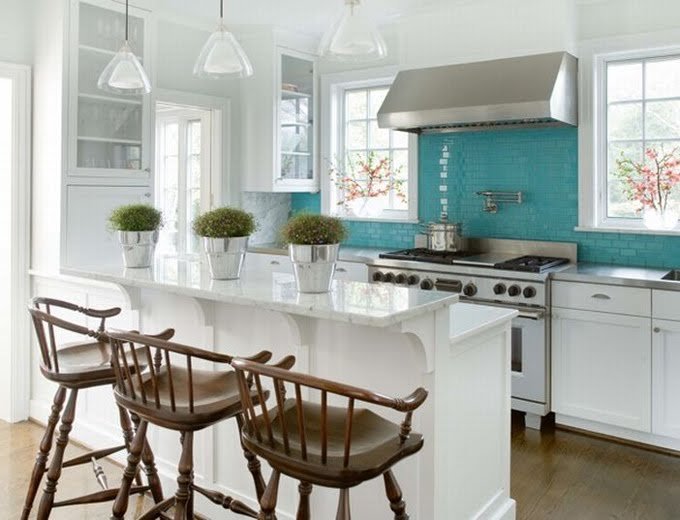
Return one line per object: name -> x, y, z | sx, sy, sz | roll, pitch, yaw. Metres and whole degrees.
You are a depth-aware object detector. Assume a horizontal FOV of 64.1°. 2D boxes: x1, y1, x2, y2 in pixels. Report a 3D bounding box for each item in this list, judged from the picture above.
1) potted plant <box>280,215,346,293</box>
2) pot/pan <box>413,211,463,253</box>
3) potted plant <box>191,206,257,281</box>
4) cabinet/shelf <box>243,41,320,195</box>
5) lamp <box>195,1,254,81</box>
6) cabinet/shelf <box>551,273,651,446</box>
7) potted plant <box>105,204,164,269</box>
potted plant -> -0.122, -0.014, 2.627 | 0.357, 0.406, 0.322 | 0, -3, -2
pot/pan -> 0.911, -0.245, 4.560 | 0.235, 0.268, 0.374 | -34, 17, -37
potted plant -> -0.636, -0.096, 2.877 | 0.380, 0.380, 0.339 | 2, 1, -30
cabinet/shelf -> -0.572, -1.341, 5.232 | 0.793, 1.369, 0.458 | -3, 12, -12
lamp -> -0.596, -1.037, 2.684 | 0.253, 0.243, 0.156 | 3, 12, 19
cabinet/shelf -> 2.013, 0.654, 3.830 | 0.925, 1.034, 0.909 | 1, -2, 31
potted plant -> -1.195, -0.137, 3.308 | 0.370, 0.416, 0.347 | -1, -1, -5
